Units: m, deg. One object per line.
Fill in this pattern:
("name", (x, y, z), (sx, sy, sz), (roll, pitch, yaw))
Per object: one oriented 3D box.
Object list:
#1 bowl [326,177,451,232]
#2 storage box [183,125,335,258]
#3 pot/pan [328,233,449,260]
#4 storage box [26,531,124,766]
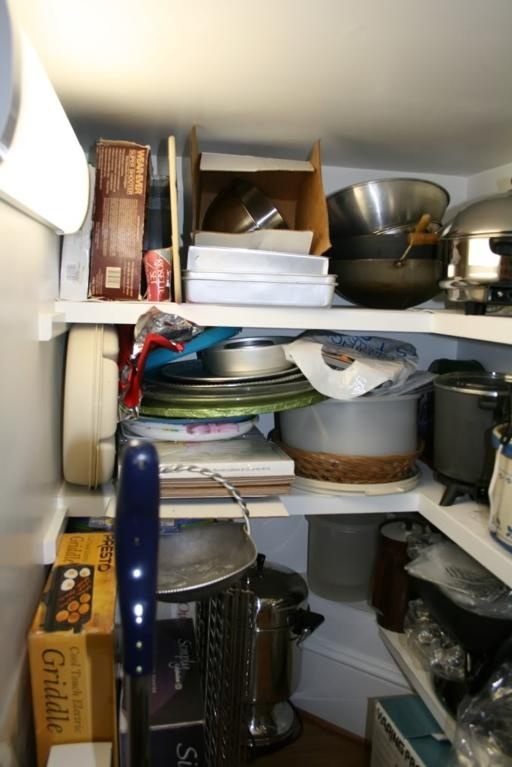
("bowl", (0.206, -0.284, 0.975), (0.124, 0.043, 0.126), (-8, -9, -1))
("storage box", (-0.007, -0.314, 1.081), (0.238, 0.151, 0.237), (5, 24, -8))
("pot/pan", (0.210, -0.221, 0.988), (0.180, 0.041, 0.067), (1, 7, 14))
("storage box", (-0.236, 0.354, 0.811), (0.100, 0.242, 0.213), (-2, 7, -13))
